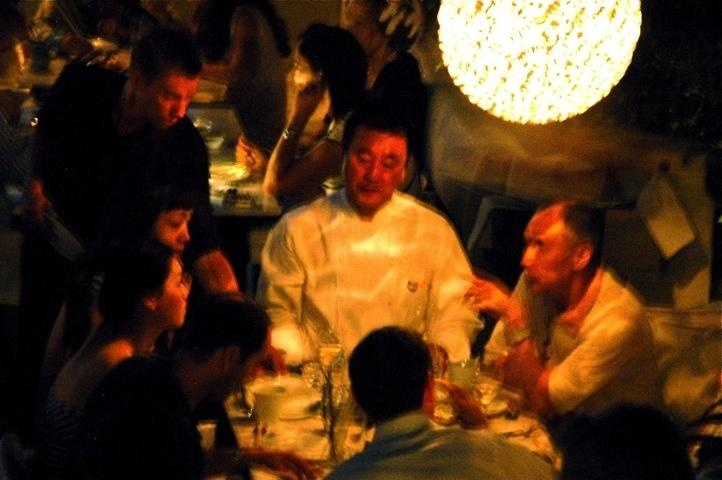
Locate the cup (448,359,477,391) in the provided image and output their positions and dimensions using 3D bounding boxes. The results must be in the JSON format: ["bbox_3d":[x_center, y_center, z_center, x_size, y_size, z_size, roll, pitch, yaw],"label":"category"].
[{"bbox_3d":[0.535,0.714,3.840,0.140,0.122,0.127,0,11,3],"label":"cup"}]

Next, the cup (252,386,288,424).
[{"bbox_3d":[-0.463,0.822,3.652,0.168,0.155,0.122,-11,77,34],"label":"cup"}]

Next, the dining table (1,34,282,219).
[{"bbox_3d":[-1.289,-0.588,3.771,0.995,0.747,0.576,-8,48,-9],"label":"dining table"}]
